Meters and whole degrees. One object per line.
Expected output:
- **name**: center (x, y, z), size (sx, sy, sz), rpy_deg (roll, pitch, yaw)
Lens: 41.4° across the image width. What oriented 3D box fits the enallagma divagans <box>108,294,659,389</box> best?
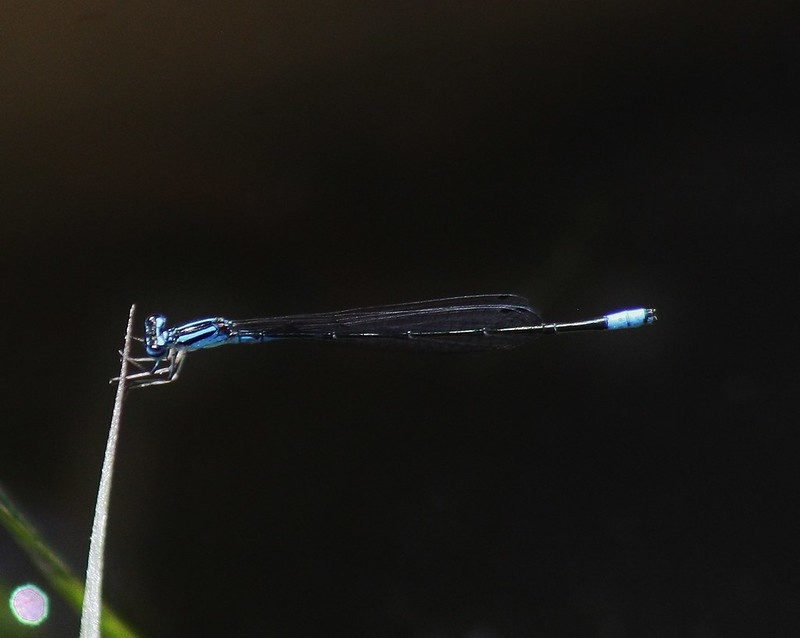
- **enallagma divagans**: center (-0.097, 0.120, 3.944), size (2.087, 0.373, 0.274), rpy_deg (0, -21, 6)
